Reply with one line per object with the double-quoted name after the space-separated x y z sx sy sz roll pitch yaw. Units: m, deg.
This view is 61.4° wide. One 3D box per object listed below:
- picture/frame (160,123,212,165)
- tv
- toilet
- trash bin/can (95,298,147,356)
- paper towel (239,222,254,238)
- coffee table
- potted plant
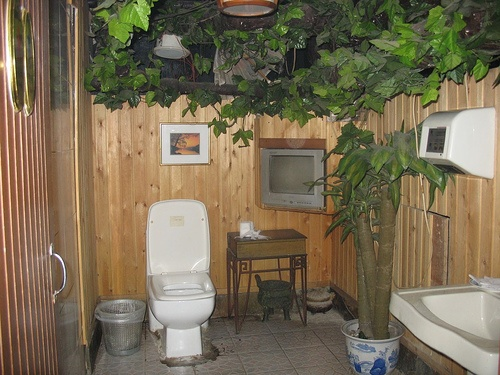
-0.732 -0.481 4.555 0.423 0.377 0.044 0 2 -13 "picture/frame"
0.502 -0.144 4.735 0.698 0.694 0.504 2 15 16 "tv"
-0.698 0.828 4.039 0.657 1.328 1.016 -2 8 -8 "toilet"
-1.217 1.309 3.961 0.442 0.426 0.378 -3 8 -16 "trash bin/can"
-0.056 0.448 4.445 0.128 0.157 0.151 0 -2 -13 "paper towel"
0.168 0.964 4.491 0.864 0.980 0.740 -1 8 -4 "coffee table"
1.081 0.388 3.381 0.914 1.616 0.829 12 -18 -23 "potted plant"
